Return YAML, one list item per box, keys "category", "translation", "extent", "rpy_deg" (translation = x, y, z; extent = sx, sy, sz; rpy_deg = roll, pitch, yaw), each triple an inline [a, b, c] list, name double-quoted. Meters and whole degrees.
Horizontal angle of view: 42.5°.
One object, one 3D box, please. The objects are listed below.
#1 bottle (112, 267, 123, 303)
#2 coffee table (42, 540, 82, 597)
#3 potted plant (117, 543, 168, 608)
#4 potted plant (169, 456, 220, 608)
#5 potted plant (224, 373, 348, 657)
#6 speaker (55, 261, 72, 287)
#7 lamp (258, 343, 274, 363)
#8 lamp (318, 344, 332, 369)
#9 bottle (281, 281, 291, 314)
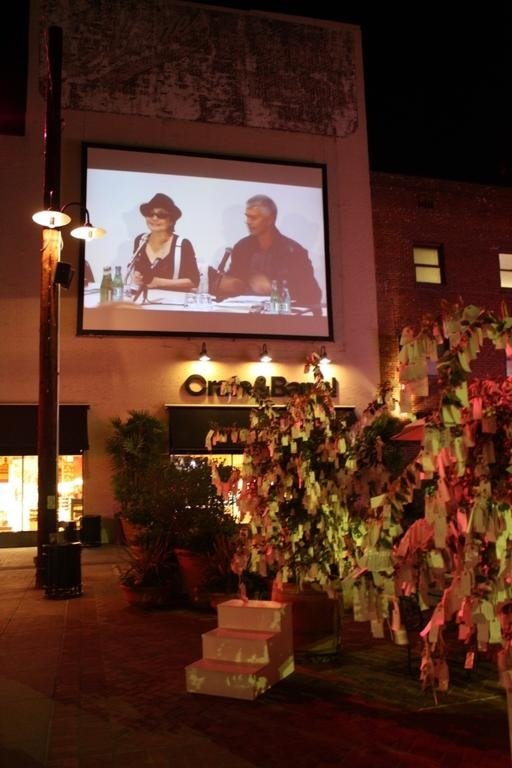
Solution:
- category: "bottle"
  translation: [-3.769, -2.730, 17.927]
  extent: [0.306, 1.039, 0.208]
  rpy_deg: [2, -7, -18]
- category: "coffee table"
  translation: [-2.750, 2.646, 9.364]
  extent: [0.517, 0.695, 0.641]
  rpy_deg: [2, -6, -18]
- category: "potted plant"
  translation: [-1.505, 2.550, 8.615]
  extent: [0.752, 0.788, 0.751]
  rpy_deg: [-1, -1, -19]
- category: "potted plant"
  translation: [-0.752, 1.908, 8.446]
  extent: [0.554, 1.801, 1.333]
  rpy_deg: [1, -6, -13]
- category: "potted plant"
  translation: [0.275, 1.080, 5.380]
  extent: [0.915, 2.360, 1.495]
  rpy_deg: [-1, -6, 4]
- category: "speaker"
  translation: [-3.220, -1.848, 10.978]
  extent: [0.260, 0.421, 0.415]
  rpy_deg: [1, -6, -14]
- category: "lamp"
  translation: [0.227, -0.878, 18.641]
  extent: [0.365, 0.587, 0.594]
  rpy_deg: [-1, -6, 9]
- category: "lamp"
  translation: [1.951, -0.806, 19.099]
  extent: [0.265, 0.704, 0.485]
  rpy_deg: [-3, -6, 20]
- category: "bottle"
  translation: [0.858, -2.538, 19.331]
  extent: [0.265, 0.984, 0.161]
  rpy_deg: [-1, -6, 3]
